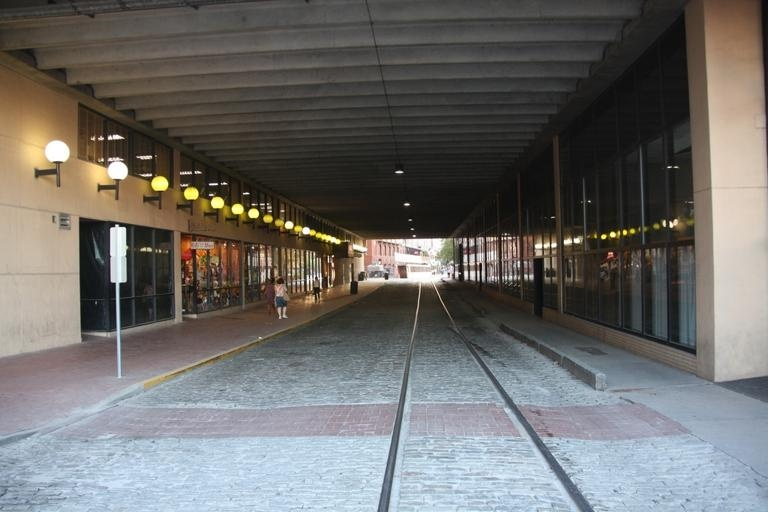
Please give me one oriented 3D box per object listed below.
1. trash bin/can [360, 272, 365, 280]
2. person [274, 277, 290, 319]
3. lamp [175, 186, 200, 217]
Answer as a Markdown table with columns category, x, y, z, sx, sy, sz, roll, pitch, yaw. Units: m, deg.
| category | x | y | z | sx | sy | sz | roll | pitch | yaw |
| --- | --- | --- | --- | --- | --- | --- | --- | --- | --- |
| trash bin/can | -3.082 | 2.919 | 78.001 | 0.769 | 1.390 | 1.439 | -1 | -4 | 6 |
| person | -4.449 | 1.829 | 24.263 | 0.445 | 1.809 | 1.299 | -3 | 9 | -15 |
| lamp | -8.075 | -2.236 | 23.010 | 0.899 | 1.203 | 2.569 | -3 | 9 | -20 |
